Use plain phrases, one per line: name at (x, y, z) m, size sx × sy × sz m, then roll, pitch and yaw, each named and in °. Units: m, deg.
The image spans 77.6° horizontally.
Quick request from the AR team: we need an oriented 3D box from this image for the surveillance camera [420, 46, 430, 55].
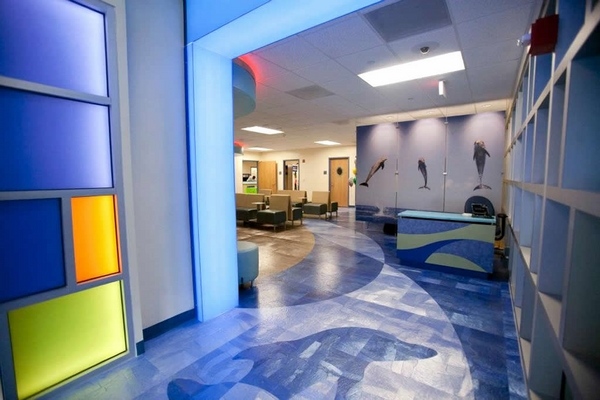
surveillance camera at (1.795, -2.146, 5.326) m, size 0.128 × 0.051 × 0.244 m, roll 0°, pitch 5°, yaw 18°
